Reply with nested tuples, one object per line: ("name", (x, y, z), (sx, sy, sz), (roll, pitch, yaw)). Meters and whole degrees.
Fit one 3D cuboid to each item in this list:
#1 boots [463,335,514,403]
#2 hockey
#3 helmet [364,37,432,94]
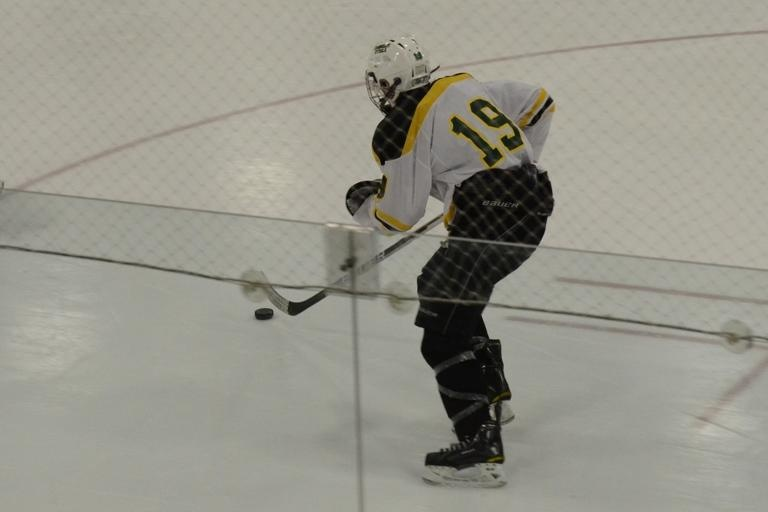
("boots", (0.478, 0.526, 6.792), (0.261, 0.111, 0.268), (-3, 91, 15))
("hockey", (-0.150, 0.049, 6.777), (1.072, 0.049, 0.277), (-23, 73, 8))
("helmet", (0.060, -0.934, 7.057), (0.271, 0.253, 0.324), (-25, 28, -38))
